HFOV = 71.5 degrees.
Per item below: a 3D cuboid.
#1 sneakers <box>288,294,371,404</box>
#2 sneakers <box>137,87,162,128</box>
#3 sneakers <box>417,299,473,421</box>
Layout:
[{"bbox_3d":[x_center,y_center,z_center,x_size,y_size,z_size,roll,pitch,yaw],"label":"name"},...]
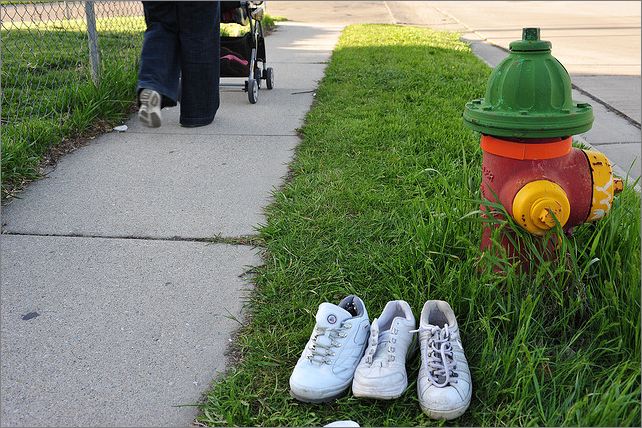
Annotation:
[{"bbox_3d":[0.063,0.602,2.026,0.220,0.218,0.501,17,46,23],"label":"sneakers"},{"bbox_3d":[-1.179,-0.723,3.050,0.129,0.254,0.113,1,8,-2],"label":"sneakers"},{"bbox_3d":[0.552,0.631,1.973,0.187,0.193,0.485,-3,40,15],"label":"sneakers"}]
